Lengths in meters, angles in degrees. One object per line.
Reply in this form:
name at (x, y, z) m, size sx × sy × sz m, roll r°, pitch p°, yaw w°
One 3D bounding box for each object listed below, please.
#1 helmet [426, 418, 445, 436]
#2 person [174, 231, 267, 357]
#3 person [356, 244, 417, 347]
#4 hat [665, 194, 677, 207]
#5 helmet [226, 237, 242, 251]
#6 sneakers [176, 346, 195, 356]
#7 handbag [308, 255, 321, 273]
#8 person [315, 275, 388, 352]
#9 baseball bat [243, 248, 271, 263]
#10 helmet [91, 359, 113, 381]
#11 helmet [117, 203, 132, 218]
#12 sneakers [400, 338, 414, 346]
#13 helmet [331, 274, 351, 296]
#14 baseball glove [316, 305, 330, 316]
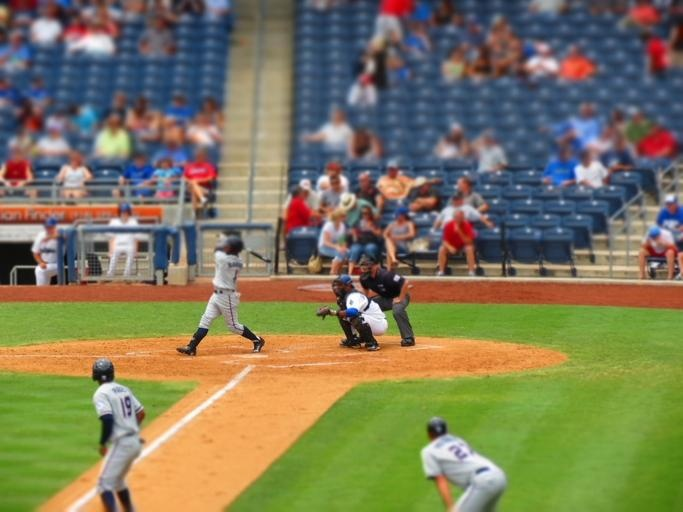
helmet at (1.307, 2.278, 16.806) m, size 0.234 × 0.228 × 0.260 m, roll 4°, pitch -34°, yaw -7°
person at (-2.041, 0.657, 21.717) m, size 1.415 × 2.102 × 0.684 m, roll 1°, pitch -3°, yaw -5°
person at (0.724, 0.739, 22.757) m, size 1.325 × 1.612 × 0.955 m, roll -5°, pitch 18°, yaw 34°
hat at (7.572, -1.316, 28.645) m, size 0.258 × 0.297 × 0.628 m, roll 0°, pitch -3°, yaw 14°
helmet at (-1.851, -0.230, 21.610) m, size 0.277 × 0.280 × 0.360 m, roll 1°, pitch -3°, yaw -5°
sneakers at (-2.656, 1.616, 21.725) m, size 0.371 × 0.150 × 0.125 m, roll 17°, pitch -19°, yaw 1°
handbag at (-0.594, 0.171, 29.627) m, size 0.318 × 0.353 × 0.348 m, roll 1°, pitch -7°, yaw 22°
person at (0.248, 0.991, 22.336) m, size 0.778 × 1.323 × 1.260 m, roll -1°, pitch -3°, yaw 33°
baseball bat at (-1.911, -0.053, 28.445) m, size 0.618 × 0.143 × 0.086 m, roll 23°, pitch 44°, yaw 6°
helmet at (-3.301, 1.533, 17.173) m, size 0.271 × 0.243 × 0.324 m, roll -2°, pitch 13°, yaw -18°
helmet at (-4.991, -1.087, 28.933) m, size 0.305 × 0.314 × 0.349 m, roll 0°, pitch -6°, yaw -10°
sneakers at (1.210, 1.528, 22.556) m, size 0.236 × 0.097 × 0.103 m, roll 7°, pitch 2°, yaw -8°
helmet at (0.042, 0.505, 22.118) m, size 0.322 × 0.369 × 0.379 m, roll 0°, pitch -3°, yaw 6°
baseball glove at (-0.315, 0.976, 22.716) m, size 0.310 × 0.150 × 0.365 m, roll 0°, pitch 4°, yaw 2°
